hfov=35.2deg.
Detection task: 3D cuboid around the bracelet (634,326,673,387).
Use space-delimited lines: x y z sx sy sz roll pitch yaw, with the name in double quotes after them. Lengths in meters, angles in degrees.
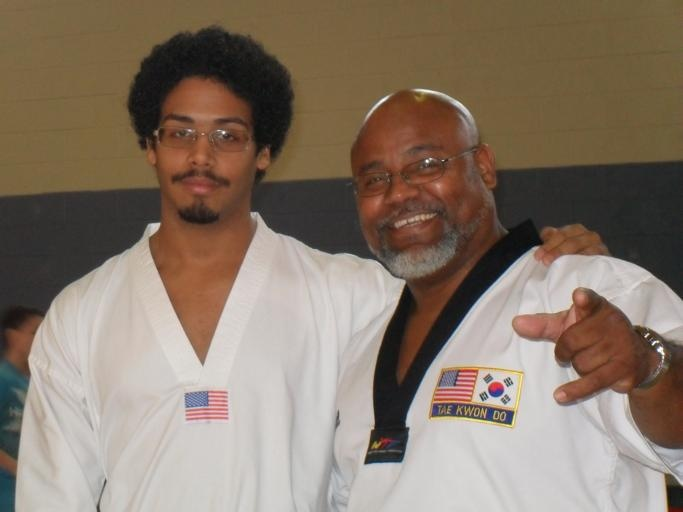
0.951 0.311 3.307 0.133 0.159 0.061 17 21 34 "bracelet"
